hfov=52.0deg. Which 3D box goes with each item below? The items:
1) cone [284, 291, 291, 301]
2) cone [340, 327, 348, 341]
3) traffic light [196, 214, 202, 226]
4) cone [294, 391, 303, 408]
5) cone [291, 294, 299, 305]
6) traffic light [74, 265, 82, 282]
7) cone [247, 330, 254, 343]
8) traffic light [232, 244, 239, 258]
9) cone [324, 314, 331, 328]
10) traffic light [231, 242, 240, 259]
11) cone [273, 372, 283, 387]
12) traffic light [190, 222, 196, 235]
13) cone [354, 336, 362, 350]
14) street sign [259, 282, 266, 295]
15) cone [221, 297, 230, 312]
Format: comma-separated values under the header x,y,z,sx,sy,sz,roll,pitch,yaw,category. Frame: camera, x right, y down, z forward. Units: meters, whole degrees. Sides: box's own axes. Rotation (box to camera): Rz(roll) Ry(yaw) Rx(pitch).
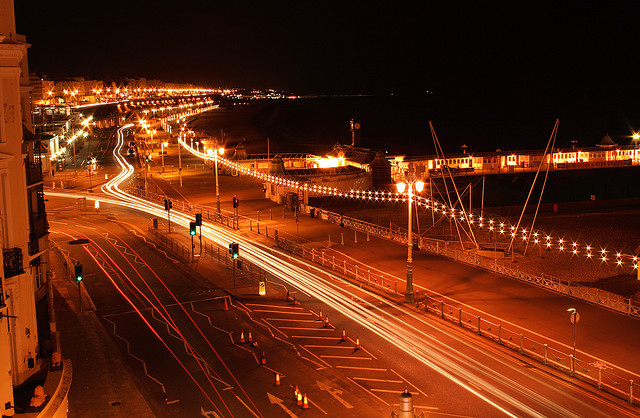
x,y,z,sx,sy,sz,roll,pitch,yaw,category
-2.352,6.287,47.455,0.408,0.534,0.721,1,10,-4,cone
1.516,8.062,41.690,0.516,0.559,0.510,0,-10,-1,cone
-10.946,1.004,58.741,0.361,1.094,0.678,1,10,-4,traffic light
-1.135,10.345,35.296,0.537,0.715,0.545,0,-6,1,cone
-1.780,6.527,46.928,0.532,0.361,1.014,2,10,3,cone
-17.463,4.615,47.273,0.349,1.265,1.038,-3,12,-26,traffic light
-4.385,8.200,41.756,0.430,0.564,0.422,-1,2,-38,cone
-6.467,3.170,49.571,0.407,1.084,0.445,-3,11,-23,traffic light
0.445,7.491,43.439,0.482,0.536,0.486,-1,-2,-2,cone
-6.542,3.170,49.954,0.563,1.265,1.275,0,11,-12,traffic light
-2.395,9.714,37.011,0.498,0.568,0.499,1,-1,14,cone
-11.069,1.647,56.824,0.370,1.126,0.614,0,11,-8,traffic light
2.314,8.365,40.604,0.540,0.589,0.535,0,-5,-2,cone
-4.284,5.820,48.597,0.469,0.899,0.630,1,10,-5,street sign
-6.741,6.907,46.433,0.461,0.597,0.462,-1,-6,1,cone
